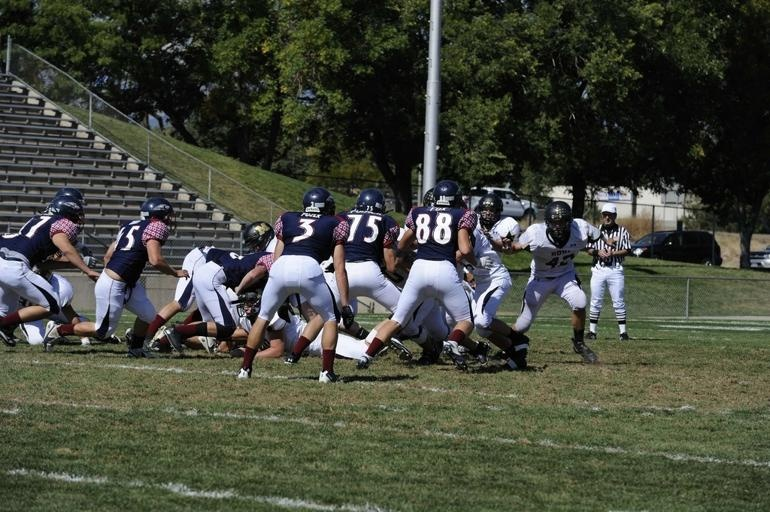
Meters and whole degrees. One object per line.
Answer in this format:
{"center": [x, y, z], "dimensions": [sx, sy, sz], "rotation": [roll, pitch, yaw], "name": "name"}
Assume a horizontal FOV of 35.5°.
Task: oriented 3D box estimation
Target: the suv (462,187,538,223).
{"center": [4.999, -2.056, 53.870], "dimensions": [4.619, 1.688, 2.153], "rotation": [-4, 6, -35], "name": "suv"}

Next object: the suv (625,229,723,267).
{"center": [12.275, -0.397, 49.527], "dimensions": [4.043, 1.485, 1.918], "rotation": [3, -1, -28], "name": "suv"}

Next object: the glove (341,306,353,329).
{"center": [-0.663, 1.093, 21.765], "dimensions": [0.132, 0.335, 0.262], "rotation": [0, 18, 46], "name": "glove"}
